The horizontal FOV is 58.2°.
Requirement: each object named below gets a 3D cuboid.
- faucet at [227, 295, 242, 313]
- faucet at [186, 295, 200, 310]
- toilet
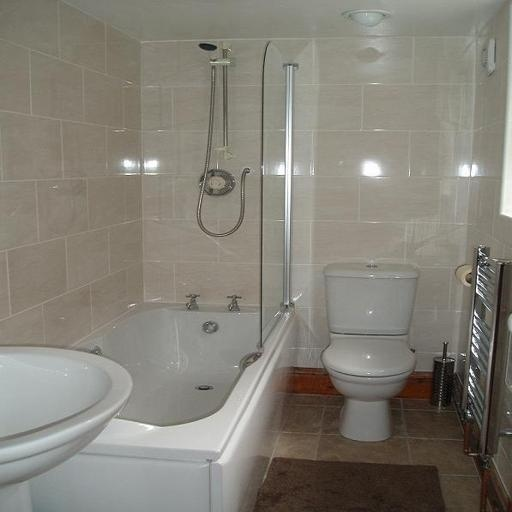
[{"bbox_3d":[-0.135,0.293,2.954,0.127,0.128,0.085,2,9,13],"label":"faucet"},{"bbox_3d":[-0.409,0.295,2.994,0.060,0.074,0.122,1,11,0],"label":"faucet"},{"bbox_3d":[0.641,0.457,2.642,0.631,0.982,0.949,1,6,10],"label":"toilet"}]
